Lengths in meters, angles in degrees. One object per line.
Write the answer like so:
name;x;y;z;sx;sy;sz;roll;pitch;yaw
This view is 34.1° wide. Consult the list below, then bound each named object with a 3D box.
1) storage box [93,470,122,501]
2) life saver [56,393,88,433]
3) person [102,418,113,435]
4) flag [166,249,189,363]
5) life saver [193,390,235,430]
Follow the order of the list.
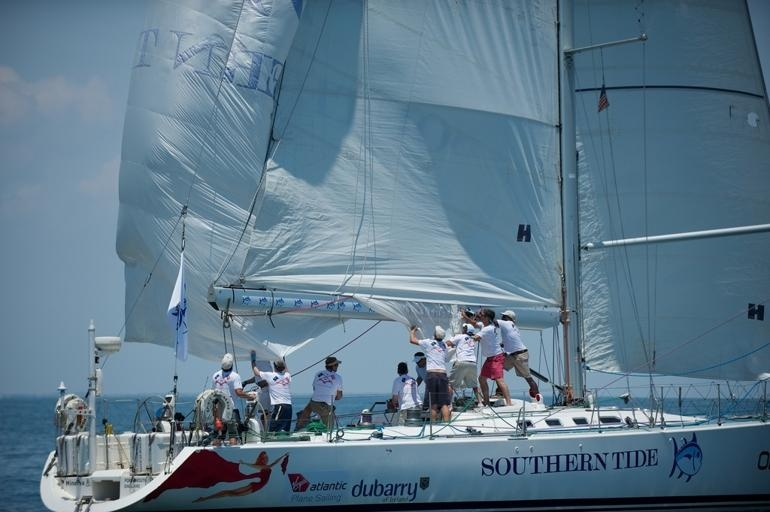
storage box;-4.721;3.843;21.341;0.533;0.790;0.400;3;-13;-17
life saver;-5.471;2.743;21.758;0.505;0.653;0.249;1;-11;-15
person;-4.934;3.009;22.262;0.171;0.321;0.870;1;-12;-13
flag;-3.685;0.778;22.457;0.425;2.554;0.344;10;-31;-18
life saver;-2.895;2.570;21.139;0.670;0.665;0.394;0;-11;-9
